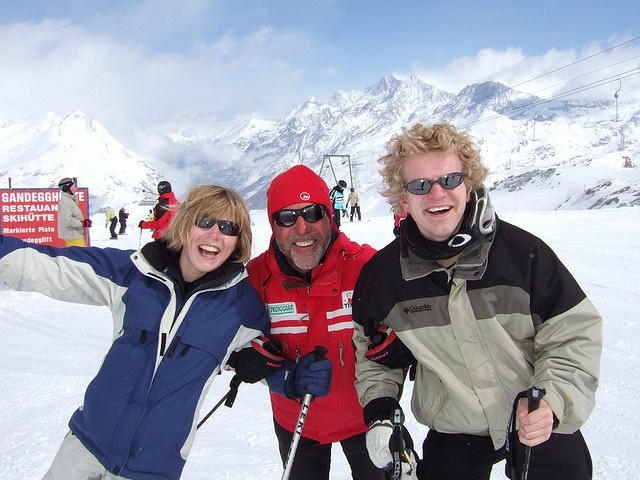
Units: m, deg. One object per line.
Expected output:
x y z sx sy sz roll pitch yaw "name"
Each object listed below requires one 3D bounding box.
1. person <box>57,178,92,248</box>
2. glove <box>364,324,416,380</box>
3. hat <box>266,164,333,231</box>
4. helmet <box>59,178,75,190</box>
-5.151 -0.266 10.349 0.617 2.001 0.777 -7 18 -34 "person"
0.560 0.889 3.938 0.377 0.373 0.311 -2 8 1 "glove"
-0.154 -0.407 4.901 0.633 0.515 0.613 1 -12 -16 "hat"
-5.154 -1.162 10.050 0.260 0.134 0.366 -24 13 2 "helmet"
